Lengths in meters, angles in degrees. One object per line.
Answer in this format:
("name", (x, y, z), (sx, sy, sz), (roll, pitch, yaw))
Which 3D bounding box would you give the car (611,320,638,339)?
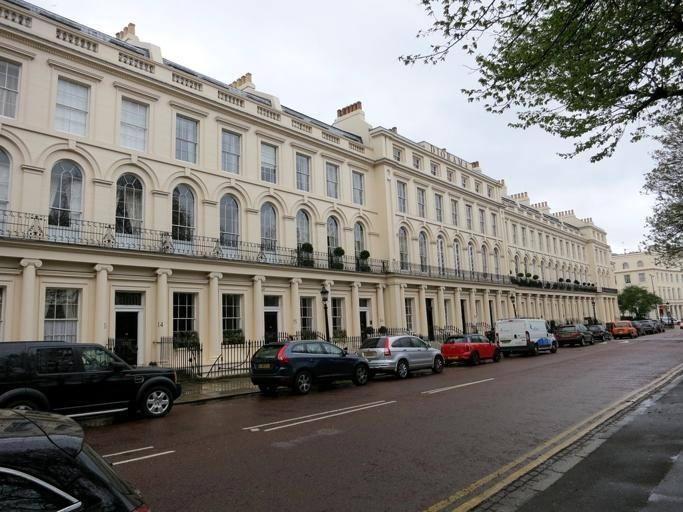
("car", (28.326, 7.398, 48.164), (1.583, 1.347, 2.960), (-7, -12, 34))

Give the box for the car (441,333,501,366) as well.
("car", (7.089, 5.066, 26.329), (3.142, 1.294, 1.704), (4, -7, -42))

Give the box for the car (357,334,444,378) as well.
("car", (2.745, 4.481, 21.676), (3.644, 1.403, 1.671), (6, -12, -41))

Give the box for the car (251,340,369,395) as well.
("car", (-1.126, 3.974, 17.792), (3.979, 1.458, 1.800), (5, -13, -38))

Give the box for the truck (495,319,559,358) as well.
("truck", (12.356, 5.257, 31.584), (2.361, 1.988, 4.402), (-6, -6, 43))
